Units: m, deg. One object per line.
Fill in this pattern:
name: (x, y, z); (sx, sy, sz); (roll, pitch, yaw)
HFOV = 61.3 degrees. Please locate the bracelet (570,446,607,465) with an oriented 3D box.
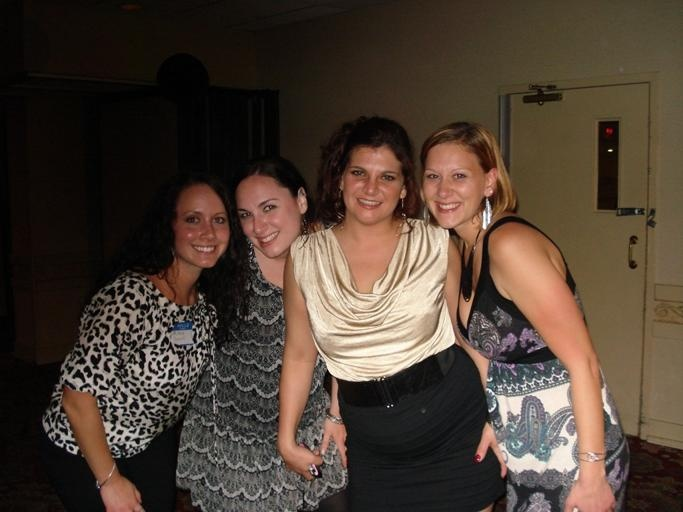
bracelet: (0.998, 0.792, 2.274); (0.137, 0.068, 0.068); (1, 5, -5)

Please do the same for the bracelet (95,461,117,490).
bracelet: (-0.996, 0.947, 2.454); (0.032, 0.109, 0.099); (39, 30, 11)
